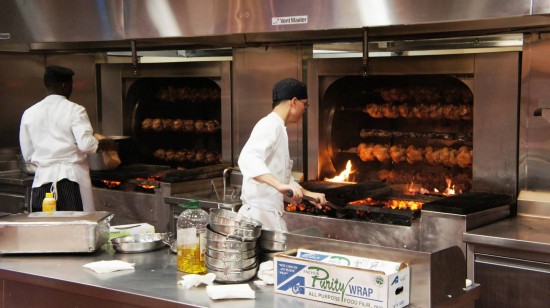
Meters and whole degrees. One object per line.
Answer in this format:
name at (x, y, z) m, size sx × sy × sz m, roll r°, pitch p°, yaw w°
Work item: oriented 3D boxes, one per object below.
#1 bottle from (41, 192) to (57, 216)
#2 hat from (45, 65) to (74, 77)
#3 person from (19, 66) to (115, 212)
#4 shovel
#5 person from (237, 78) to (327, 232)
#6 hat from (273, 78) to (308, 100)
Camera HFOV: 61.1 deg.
bottle at (-1.751, 0.380, 3.625) m, size 0.083 × 0.136 × 0.173 m, roll -4°, pitch 8°, yaw -28°
hat at (-2.167, -0.818, 4.666) m, size 0.221 × 0.067 × 0.175 m, roll 0°, pitch 4°, yaw -19°
person at (-2.167, -0.145, 4.665) m, size 0.750 × 1.464 × 0.444 m, roll -2°, pitch 8°, yaw -16°
shovel at (0.360, 0.440, 4.233) m, size 0.628 × 0.140 × 0.131 m, roll 12°, pitch -20°, yaw 26°
person at (0.019, 0.034, 3.776) m, size 0.628 × 1.298 × 0.642 m, roll -1°, pitch 7°, yaw -5°
hat at (0.116, -0.544, 3.885) m, size 0.317 × 0.163 × 0.214 m, roll -5°, pitch 13°, yaw -14°
